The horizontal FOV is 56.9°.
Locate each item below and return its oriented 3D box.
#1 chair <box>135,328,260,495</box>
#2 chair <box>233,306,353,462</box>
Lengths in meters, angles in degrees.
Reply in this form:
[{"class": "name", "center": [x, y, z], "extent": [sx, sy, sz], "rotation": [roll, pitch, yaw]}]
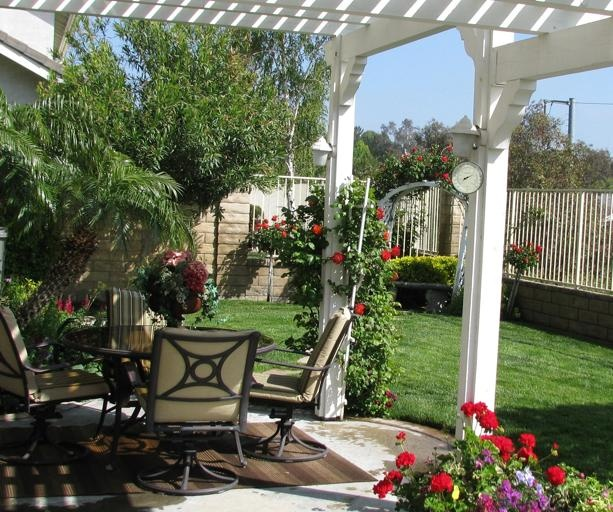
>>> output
[{"class": "chair", "center": [-0.662, 0.792, 3.389], "extent": [0.598, 1.183, 0.780], "rotation": [3, 16, -16]}, {"class": "chair", "center": [-0.110, 0.840, 3.958], "extent": [0.705, 1.129, 0.786], "rotation": [6, 6, 0]}]
